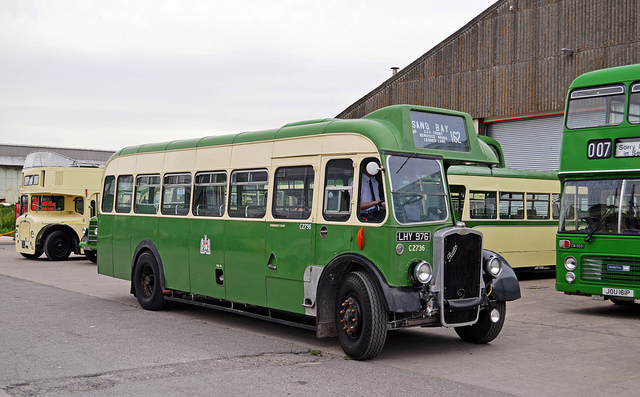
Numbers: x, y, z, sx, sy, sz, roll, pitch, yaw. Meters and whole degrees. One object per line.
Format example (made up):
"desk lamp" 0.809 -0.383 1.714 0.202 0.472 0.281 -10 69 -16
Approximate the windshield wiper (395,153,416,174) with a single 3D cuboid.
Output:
"windshield wiper" 1.576 -0.660 9.031 0.069 0.562 0.043 39 -35 8

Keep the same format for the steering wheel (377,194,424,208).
"steering wheel" 1.640 0.040 8.930 0.708 0.254 0.074 2 -1 -34

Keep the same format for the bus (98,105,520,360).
"bus" -1.424 0.790 13.273 11.872 4.715 4.173 -2 -4 45

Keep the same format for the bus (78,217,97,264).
"bus" -10.996 2.027 23.051 0.745 1.928 3.295 1 -1 -26

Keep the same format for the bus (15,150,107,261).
"bus" -12.969 0.536 24.296 6.236 4.139 2.603 3 -4 -42
